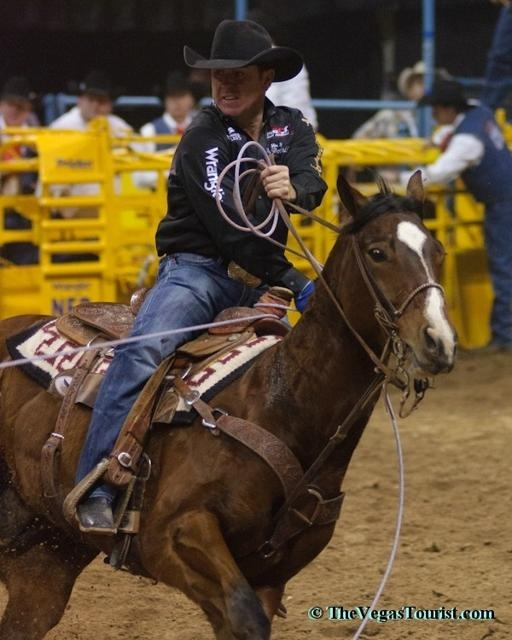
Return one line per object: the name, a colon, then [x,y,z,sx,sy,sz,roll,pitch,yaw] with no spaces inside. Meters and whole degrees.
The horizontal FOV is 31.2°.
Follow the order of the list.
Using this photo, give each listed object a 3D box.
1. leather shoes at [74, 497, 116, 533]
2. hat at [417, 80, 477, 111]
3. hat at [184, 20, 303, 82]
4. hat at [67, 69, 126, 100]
leather shoes: [-0.506,0.626,2.933,0.109,0.055,0.145,5,-3,-15]
hat: [1.773,-2.029,8.236,0.360,0.315,0.689,-7,11,-7]
hat: [0.029,-0.931,3.239,0.326,0.112,0.346,4,-2,36]
hat: [-1.557,-2.251,8.903,0.782,0.226,0.742,2,6,-6]
